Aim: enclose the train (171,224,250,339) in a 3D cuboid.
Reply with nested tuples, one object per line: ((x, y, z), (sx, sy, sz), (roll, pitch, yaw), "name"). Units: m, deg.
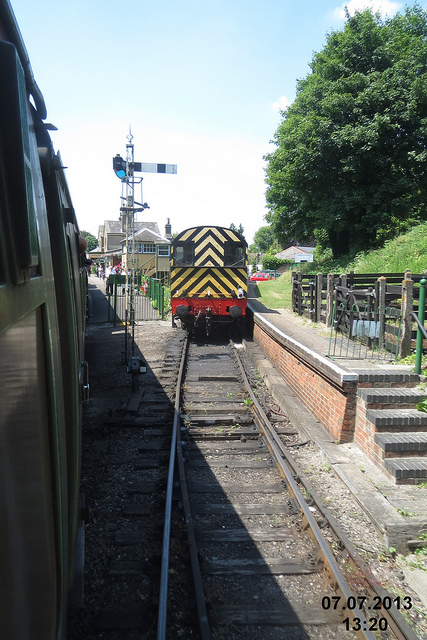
((-0.144, -1.050, 14.832), (2.252, 3.466, 2.188), (-2, 8, -3), "train")
